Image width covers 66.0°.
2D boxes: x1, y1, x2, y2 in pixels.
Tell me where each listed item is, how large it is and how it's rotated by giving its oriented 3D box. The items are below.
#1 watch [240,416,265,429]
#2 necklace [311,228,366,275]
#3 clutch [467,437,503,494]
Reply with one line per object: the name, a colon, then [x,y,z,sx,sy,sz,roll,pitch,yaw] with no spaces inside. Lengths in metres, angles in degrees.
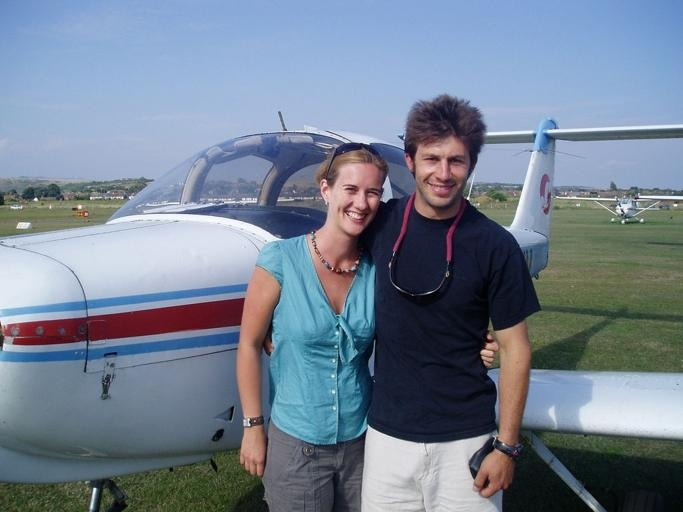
watch: [-0.429,0.790,2.555,0.089,0.087,0.089,-2,-11,27]
necklace: [-0.006,-0.041,2.577,0.221,0.206,0.221,5,14,18]
clutch: [0.678,0.949,2.471,0.137,0.198,0.081,-4,11,-22]
